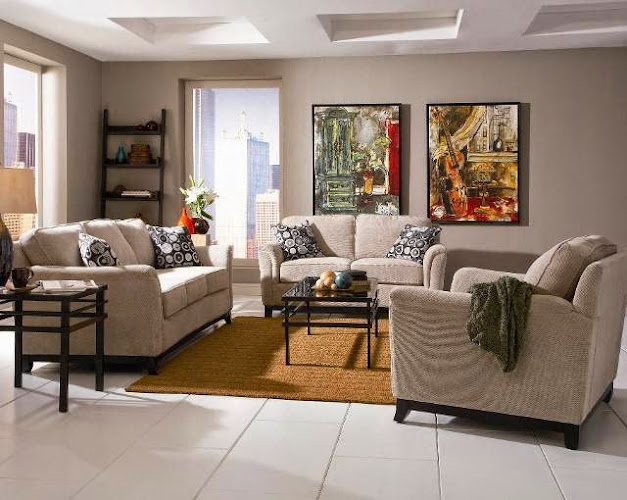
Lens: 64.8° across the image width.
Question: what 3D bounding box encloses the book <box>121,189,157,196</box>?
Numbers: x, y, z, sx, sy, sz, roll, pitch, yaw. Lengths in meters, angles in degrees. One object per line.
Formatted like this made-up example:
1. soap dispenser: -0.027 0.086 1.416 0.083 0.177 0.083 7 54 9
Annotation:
1. book: -2.381 -0.771 6.780 0.464 0.093 0.162 0 6 0

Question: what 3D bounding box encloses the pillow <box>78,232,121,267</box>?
1. pillow: -1.641 0.006 3.779 0.118 0.233 0.225 -19 9 -6

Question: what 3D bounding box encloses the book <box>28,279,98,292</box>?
1. book: -1.543 0.222 3.056 0.394 0.051 0.196 0 6 -4

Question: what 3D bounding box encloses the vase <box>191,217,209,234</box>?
1. vase: -1.430 -0.320 6.265 0.199 0.250 0.206 -8 8 -39

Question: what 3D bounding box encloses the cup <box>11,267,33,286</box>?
1. cup: -1.771 0.167 3.069 0.085 0.134 0.135 -3 -5 32

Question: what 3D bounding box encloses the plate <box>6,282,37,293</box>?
1. plate: -1.777 0.230 3.028 0.174 0.042 0.222 -3 7 -31

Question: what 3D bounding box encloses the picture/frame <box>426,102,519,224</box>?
1. picture/frame: 2.075 -1.171 6.353 1.505 2.188 0.084 0 4 8

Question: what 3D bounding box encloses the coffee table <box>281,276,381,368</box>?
1. coffee table: 0.137 0.729 3.932 0.599 0.502 0.967 0 3 7

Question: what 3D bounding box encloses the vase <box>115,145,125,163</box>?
1. vase: -2.641 -1.309 6.835 0.131 0.252 0.215 2 6 14

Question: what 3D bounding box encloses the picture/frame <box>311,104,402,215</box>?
1. picture/frame: 0.604 -1.253 6.528 1.397 2.041 0.071 0 1 1
